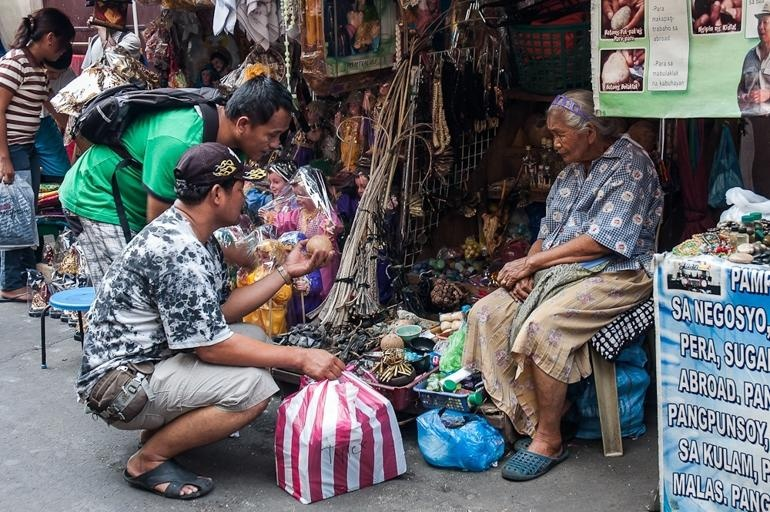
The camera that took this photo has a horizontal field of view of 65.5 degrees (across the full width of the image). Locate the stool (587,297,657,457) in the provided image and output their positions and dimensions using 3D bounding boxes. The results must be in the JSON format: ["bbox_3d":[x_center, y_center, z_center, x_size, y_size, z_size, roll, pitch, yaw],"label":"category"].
[{"bbox_3d":[1.431,0.719,3.562,0.416,0.871,0.179,-9,14,-28],"label":"stool"}]

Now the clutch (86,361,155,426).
[{"bbox_3d":[-1.430,0.728,3.223,0.357,0.186,0.271,-42,40,-19],"label":"clutch"}]

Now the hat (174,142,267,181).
[{"bbox_3d":[-0.912,-0.520,3.291,0.506,0.201,0.311,-11,26,-29],"label":"hat"}]

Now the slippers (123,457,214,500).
[{"bbox_3d":[-1.177,1.237,3.353,0.394,0.132,0.206,2,11,24],"label":"slippers"}]

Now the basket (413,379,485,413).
[{"bbox_3d":[0.394,0.860,3.603,0.277,0.093,0.239,-1,0,18],"label":"basket"}]

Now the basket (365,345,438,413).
[{"bbox_3d":[0.086,0.750,3.770,0.363,0.144,0.428,0,-1,41],"label":"basket"}]

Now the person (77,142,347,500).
[{"bbox_3d":[-1.031,0.358,3.305,1.325,1.912,0.665,-7,13,-23],"label":"person"}]

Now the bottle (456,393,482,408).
[{"bbox_3d":[0.503,0.872,3.575,0.053,0.086,0.125,3,-35,-40],"label":"bottle"}]

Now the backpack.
[{"bbox_3d":[-1.434,-0.862,3.582,0.612,0.299,0.592,8,27,11],"label":"backpack"}]

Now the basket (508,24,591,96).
[{"bbox_3d":[1.350,-1.581,4.759,0.781,0.558,0.795,-2,11,-3],"label":"basket"}]

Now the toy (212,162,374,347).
[{"bbox_3d":[-0.626,0.039,4.176,0.968,1.786,0.586,11,31,-6],"label":"toy"}]
